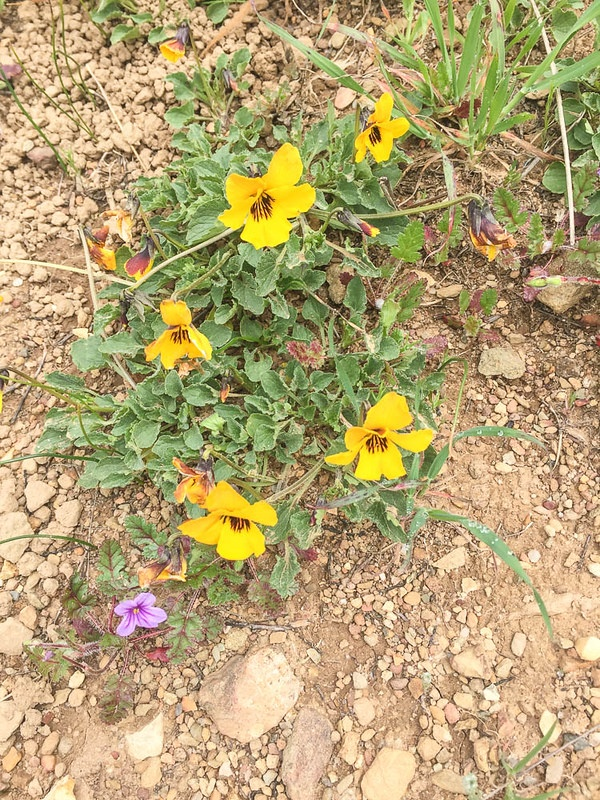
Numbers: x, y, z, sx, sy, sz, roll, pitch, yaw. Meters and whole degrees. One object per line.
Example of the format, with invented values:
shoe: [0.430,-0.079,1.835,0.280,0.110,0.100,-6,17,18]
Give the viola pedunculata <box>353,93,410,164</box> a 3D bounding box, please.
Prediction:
viola pedunculata: [0.246,-0.835,2.123,0.151,0.247,0.085,-14,60,-12]

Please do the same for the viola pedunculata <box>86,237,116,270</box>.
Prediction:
viola pedunculata: [-0.739,-0.549,2.622,0.090,0.206,0.060,36,87,-12]

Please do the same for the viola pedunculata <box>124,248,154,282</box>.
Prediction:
viola pedunculata: [-0.530,-0.464,2.334,0.084,0.114,0.034,15,23,8]

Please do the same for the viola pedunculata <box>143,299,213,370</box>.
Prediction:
viola pedunculata: [-0.345,-0.178,1.995,0.219,0.202,0.197,-10,80,-10]

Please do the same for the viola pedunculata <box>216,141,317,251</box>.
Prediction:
viola pedunculata: [-0.094,-0.536,1.869,0.247,0.266,0.152,-28,63,-19]

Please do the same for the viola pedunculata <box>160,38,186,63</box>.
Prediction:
viola pedunculata: [-0.470,-1.293,2.585,0.074,0.095,0.071,4,57,-1]

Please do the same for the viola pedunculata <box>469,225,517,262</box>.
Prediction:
viola pedunculata: [0.612,-0.507,2.184,0.057,0.150,0.150,-45,27,-6]
